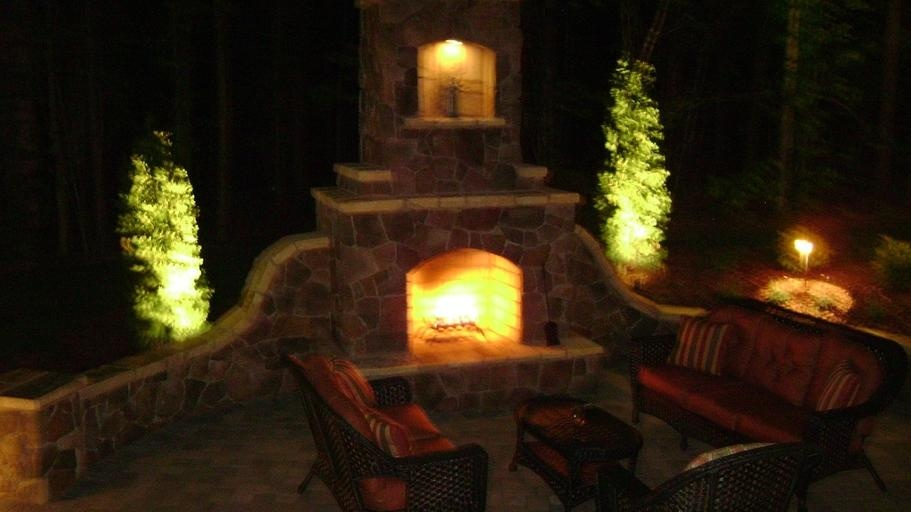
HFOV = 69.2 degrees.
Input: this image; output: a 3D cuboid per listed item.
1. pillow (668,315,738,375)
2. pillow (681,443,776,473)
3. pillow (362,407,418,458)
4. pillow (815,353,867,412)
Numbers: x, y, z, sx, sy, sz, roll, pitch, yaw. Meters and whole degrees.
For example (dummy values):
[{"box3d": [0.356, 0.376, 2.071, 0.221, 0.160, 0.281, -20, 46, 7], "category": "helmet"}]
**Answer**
[{"box3d": [3.523, 1.284, 9.295, 0.799, 0.641, 0.408, 9, 14, 34], "category": "pillow"}, {"box3d": [2.824, 2.080, 6.898, 0.889, 0.215, 0.250, -3, 6, -10], "category": "pillow"}, {"box3d": [-0.751, 1.976, 7.365, 0.363, 0.199, 0.606, -17, 30, -38], "category": "pillow"}, {"box3d": [4.786, 1.606, 8.161, 0.462, 0.633, 0.258, 18, 6, 31], "category": "pillow"}]
